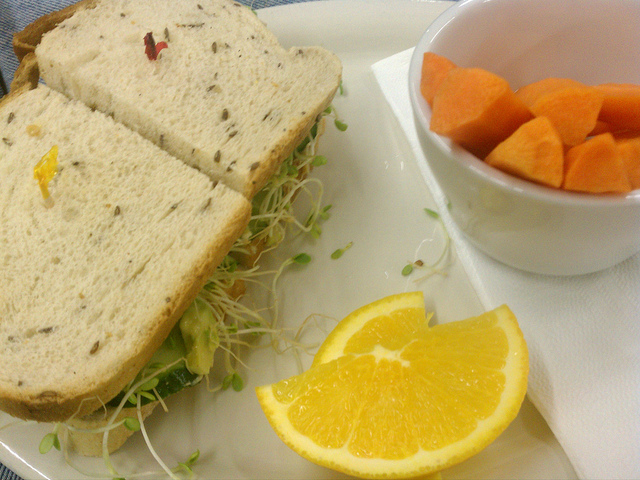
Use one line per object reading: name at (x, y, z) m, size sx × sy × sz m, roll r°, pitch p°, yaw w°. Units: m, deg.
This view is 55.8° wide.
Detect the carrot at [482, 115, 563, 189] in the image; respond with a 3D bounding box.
carrot at (0.416, -0.170, 1.185) m, size 0.163 × 0.129 × 0.061 m, roll 27°, pitch 27°, yaw 16°

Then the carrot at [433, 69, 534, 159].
carrot at (0.335, -0.242, 1.284) m, size 0.174 × 0.195 × 0.179 m, roll 0°, pitch 17°, yaw -42°

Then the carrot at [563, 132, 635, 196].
carrot at (0.528, -0.152, 1.169) m, size 0.131 × 0.106 × 0.066 m, roll 0°, pitch -18°, yaw 0°
